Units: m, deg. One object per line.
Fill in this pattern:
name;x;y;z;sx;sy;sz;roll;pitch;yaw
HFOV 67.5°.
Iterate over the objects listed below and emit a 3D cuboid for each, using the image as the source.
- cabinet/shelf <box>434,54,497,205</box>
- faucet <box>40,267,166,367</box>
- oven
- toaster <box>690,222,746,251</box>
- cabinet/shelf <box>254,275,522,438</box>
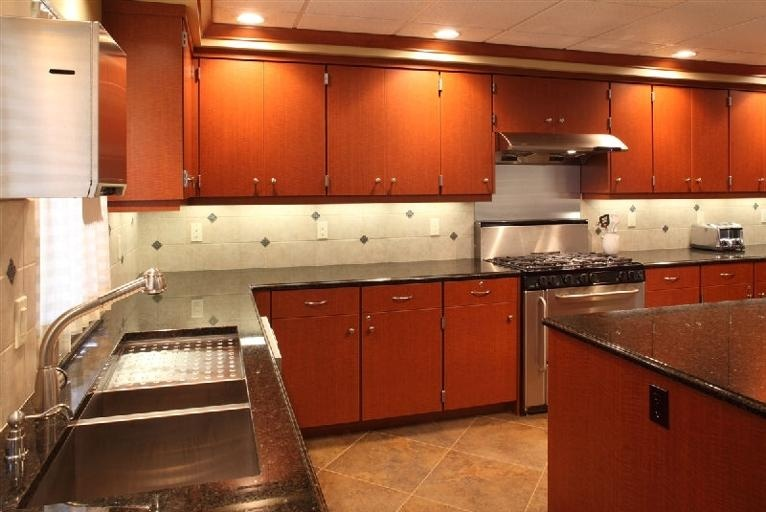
cabinet/shelf;0.603;-0.877;4.129;0.429;0.857;0.223;-3;15;-5
faucet;-1.006;0.195;2.025;0.421;0.282;0.228;-9;16;-30
oven;1.389;0.605;4.295;1.138;0.944;0.563;-1;-1;-23
toaster;2.923;-0.162;5.034;0.325;0.196;0.306;0;0;-14
cabinet/shelf;-0.007;0.598;3.616;1.260;0.547;0.378;-1;-1;-17
